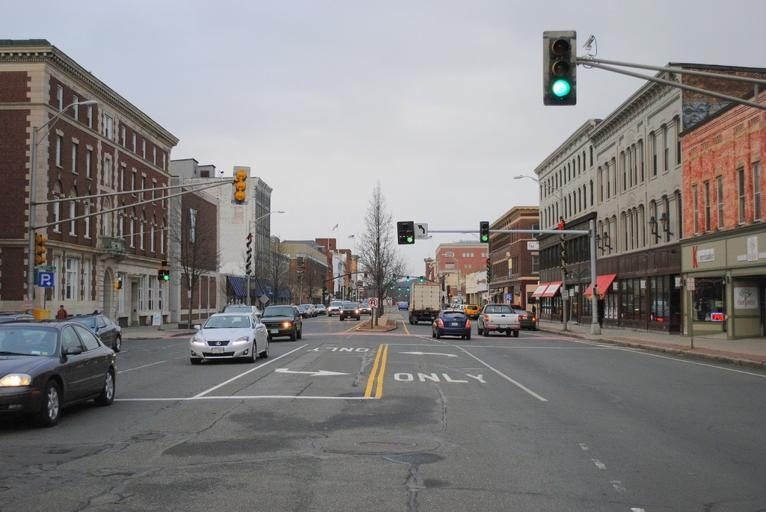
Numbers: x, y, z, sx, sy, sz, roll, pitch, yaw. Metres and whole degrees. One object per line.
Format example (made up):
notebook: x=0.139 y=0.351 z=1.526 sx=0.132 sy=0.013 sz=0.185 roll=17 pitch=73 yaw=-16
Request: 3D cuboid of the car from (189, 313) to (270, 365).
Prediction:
car: x=-5.809 y=3.050 z=27.646 sx=2.272 sy=1.925 sz=2.477 roll=-2 pitch=-7 yaw=8

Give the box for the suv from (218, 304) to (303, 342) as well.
suv: x=-5.656 y=3.185 z=34.788 sx=1.498 sy=1.197 sz=3.455 roll=-2 pitch=-10 yaw=8

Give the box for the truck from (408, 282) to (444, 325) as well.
truck: x=3.531 y=3.920 z=63.172 sx=1.921 sy=2.481 sz=3.978 roll=0 pitch=-7 yaw=-2

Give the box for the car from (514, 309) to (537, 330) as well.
car: x=11.024 y=4.948 z=57.149 sx=1.322 sy=1.092 sz=3.087 roll=1 pitch=-1 yaw=7

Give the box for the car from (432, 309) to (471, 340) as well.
car: x=3.924 y=3.968 z=42.546 sx=1.908 sy=1.771 sz=1.928 roll=0 pitch=-7 yaw=-7

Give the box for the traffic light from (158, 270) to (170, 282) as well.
traffic light: x=-14.954 y=1.332 z=50.340 sx=0.621 sy=0.649 sz=0.663 roll=1 pitch=-36 yaw=-12

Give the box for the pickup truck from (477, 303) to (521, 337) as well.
pickup truck: x=7.461 y=4.121 z=47.326 sx=2.286 sy=2.099 sz=1.485 roll=-4 pitch=-7 yaw=17
